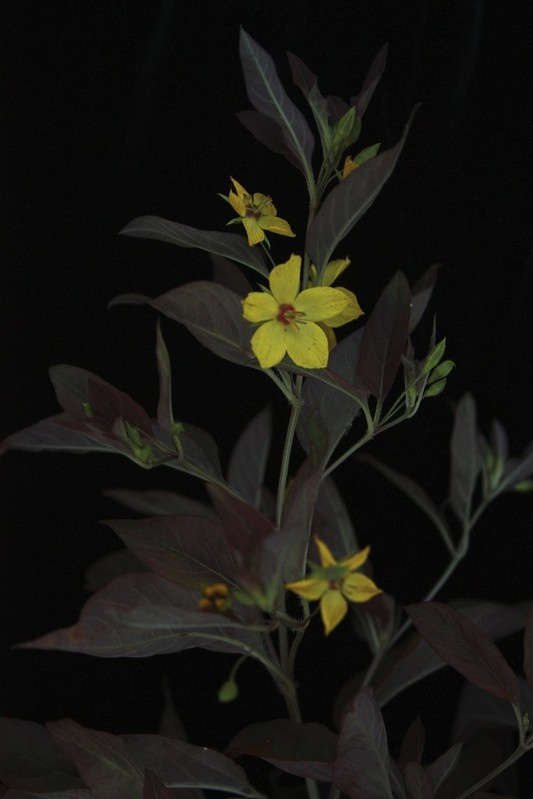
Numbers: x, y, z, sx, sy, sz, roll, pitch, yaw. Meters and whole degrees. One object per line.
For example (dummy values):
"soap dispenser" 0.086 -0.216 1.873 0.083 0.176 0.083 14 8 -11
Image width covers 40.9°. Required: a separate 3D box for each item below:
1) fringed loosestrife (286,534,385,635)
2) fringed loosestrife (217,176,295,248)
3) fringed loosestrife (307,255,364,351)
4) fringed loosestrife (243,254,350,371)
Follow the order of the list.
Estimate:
"fringed loosestrife" 0.056 0.151 0.608 0.088 0.047 0.086 14 12 10
"fringed loosestrife" 0.000 -0.199 0.721 0.093 0.043 0.079 47 6 -2
"fringed loosestrife" 0.072 -0.097 0.735 0.082 0.085 0.027 11 9 10
"fringed loosestrife" 0.017 -0.071 0.641 0.091 0.101 0.044 11 -12 43
